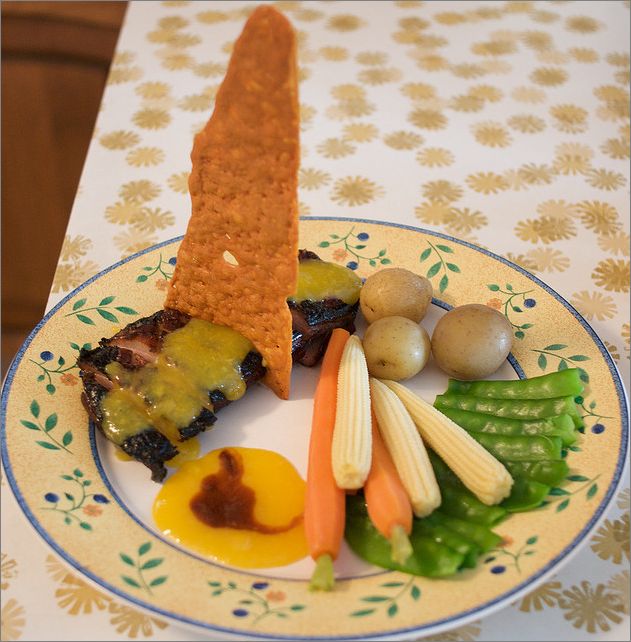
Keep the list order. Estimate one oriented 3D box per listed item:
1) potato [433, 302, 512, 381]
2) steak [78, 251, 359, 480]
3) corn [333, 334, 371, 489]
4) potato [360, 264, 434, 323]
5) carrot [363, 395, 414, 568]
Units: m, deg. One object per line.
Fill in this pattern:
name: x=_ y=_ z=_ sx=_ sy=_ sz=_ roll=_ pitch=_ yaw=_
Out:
potato: x=0.411 y=0.052 z=1.945 sx=0.228 sy=0.155 sz=0.233 roll=-17 pitch=6 yaw=4
steak: x=-0.238 y=0.098 z=1.904 sx=0.789 sy=0.211 sz=0.441 roll=-31 pitch=80 yaw=-18
corn: x=0.099 y=0.237 z=1.710 sx=0.087 sy=0.060 sz=0.345 roll=8 pitch=38 yaw=4
potato: x=0.233 y=-0.069 z=2.037 sx=0.251 sy=0.148 sz=0.180 roll=0 pitch=29 yaw=7
carrot: x=0.156 y=0.388 z=1.504 sx=0.165 sy=0.170 sz=0.280 roll=-3 pitch=41 yaw=5
